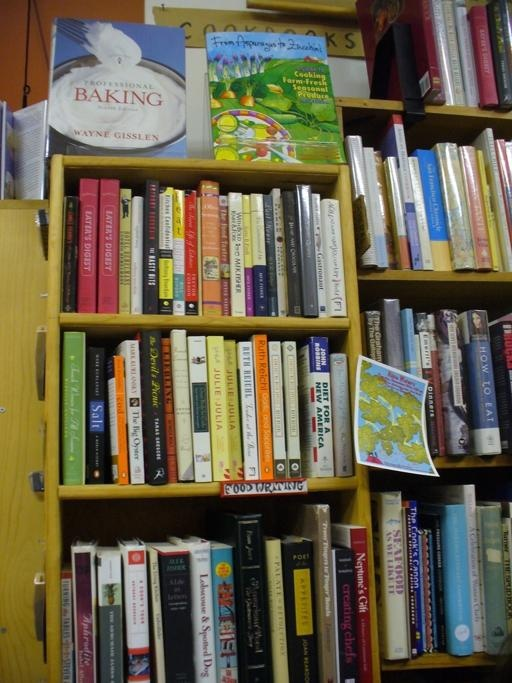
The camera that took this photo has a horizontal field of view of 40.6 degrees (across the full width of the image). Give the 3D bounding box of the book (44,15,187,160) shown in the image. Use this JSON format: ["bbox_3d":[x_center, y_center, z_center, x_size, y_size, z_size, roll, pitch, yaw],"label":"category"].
[{"bbox_3d":[-0.293,-0.522,1.433,0.328,0.079,0.321,0,80,-17],"label":"book"}]

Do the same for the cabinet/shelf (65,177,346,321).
[{"bbox_3d":[-0.091,-0.194,1.441,0.490,0.163,0.269,0,94,8],"label":"cabinet/shelf"}]

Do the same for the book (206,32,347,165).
[{"bbox_3d":[0.040,-0.526,1.480,0.276,0.176,0.297,2,45,-18],"label":"book"}]

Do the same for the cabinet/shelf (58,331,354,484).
[{"bbox_3d":[-0.067,0.122,1.357,0.522,0.188,0.285,-3,85,4],"label":"cabinet/shelf"}]
